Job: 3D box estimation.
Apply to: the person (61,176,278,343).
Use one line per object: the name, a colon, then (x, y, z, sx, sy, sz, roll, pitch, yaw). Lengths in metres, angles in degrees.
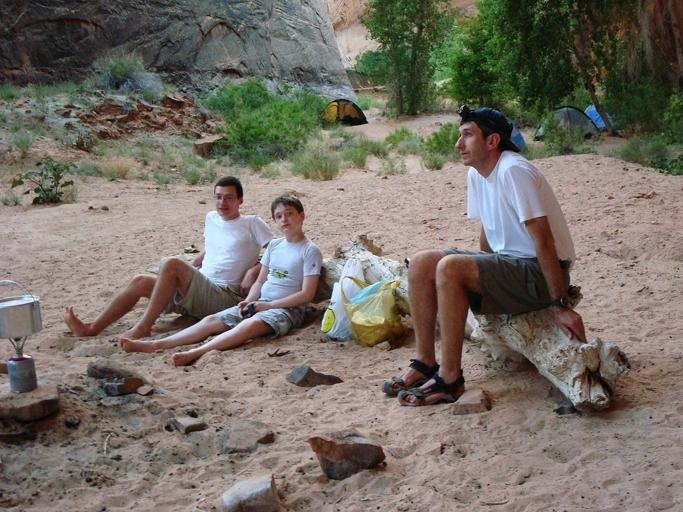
person: (-1.629, -0.003, 5.835, 0.833, 1.499, 1.888, 4, 3, 41)

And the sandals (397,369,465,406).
sandals: (0.620, 0.914, 4.198, 0.518, 0.225, 0.189, -1, 9, -2)

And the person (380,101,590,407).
person: (0.957, -0.044, 4.138, 1.243, 1.939, 0.671, -4, 11, 9)

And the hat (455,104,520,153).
hat: (1.019, -0.909, 4.189, 0.399, 0.197, 0.282, 28, 11, -8)

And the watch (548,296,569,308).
watch: (1.416, 0.303, 3.920, 0.076, 0.044, 0.080, -10, 2, 41)

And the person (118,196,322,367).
person: (-0.944, 0.123, 5.394, 0.804, 1.346, 1.955, -1, 2, 36)
